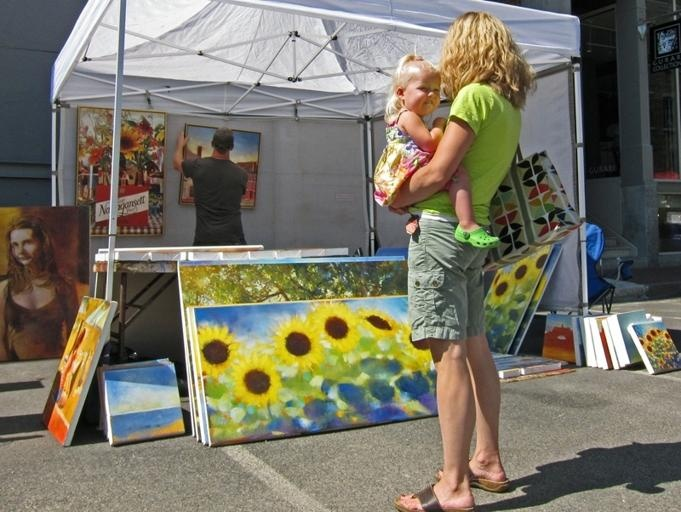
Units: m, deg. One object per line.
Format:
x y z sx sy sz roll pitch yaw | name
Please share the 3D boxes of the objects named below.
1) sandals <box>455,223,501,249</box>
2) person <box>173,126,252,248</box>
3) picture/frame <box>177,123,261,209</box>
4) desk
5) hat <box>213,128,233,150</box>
0.610 -0.085 2.366 0.164 0.073 0.096 11 18 40 | sandals
-1.563 -0.829 6.507 0.927 1.410 0.742 -2 3 -32 | person
-1.706 -1.264 7.290 1.423 1.493 0.097 1 2 -34 | picture/frame
-1.848 0.504 4.820 0.707 1.060 1.814 -2 3 -18 | desk
-1.410 -1.415 6.419 0.214 0.288 0.286 -1 3 -7 | hat
